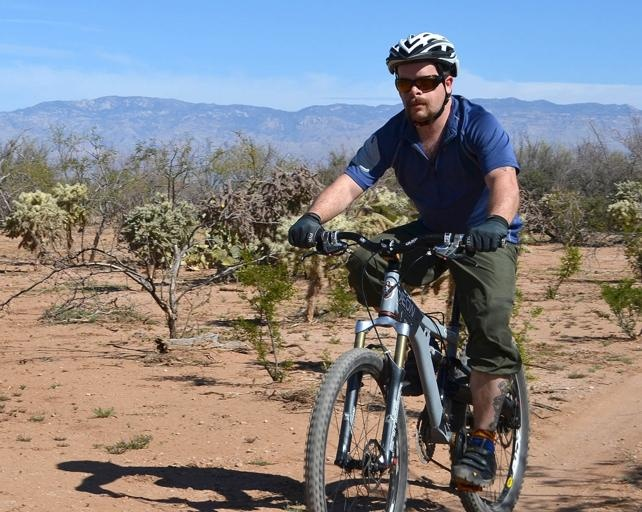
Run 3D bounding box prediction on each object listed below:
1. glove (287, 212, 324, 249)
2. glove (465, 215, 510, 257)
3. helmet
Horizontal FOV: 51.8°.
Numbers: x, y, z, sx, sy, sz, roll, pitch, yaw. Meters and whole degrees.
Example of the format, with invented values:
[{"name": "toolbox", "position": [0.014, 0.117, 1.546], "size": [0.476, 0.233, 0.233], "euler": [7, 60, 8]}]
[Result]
[{"name": "glove", "position": [-0.059, -0.159, 4.031], "size": [0.181, 0.227, 0.107], "euler": [13, -36, 38]}, {"name": "glove", "position": [0.912, -0.073, 3.746], "size": [0.230, 0.108, 0.294], "euler": [4, -1, 20]}, {"name": "helmet", "position": [0.649, -1.308, 4.294], "size": [0.411, 0.212, 0.543], "euler": [-1, 0, 28]}]
